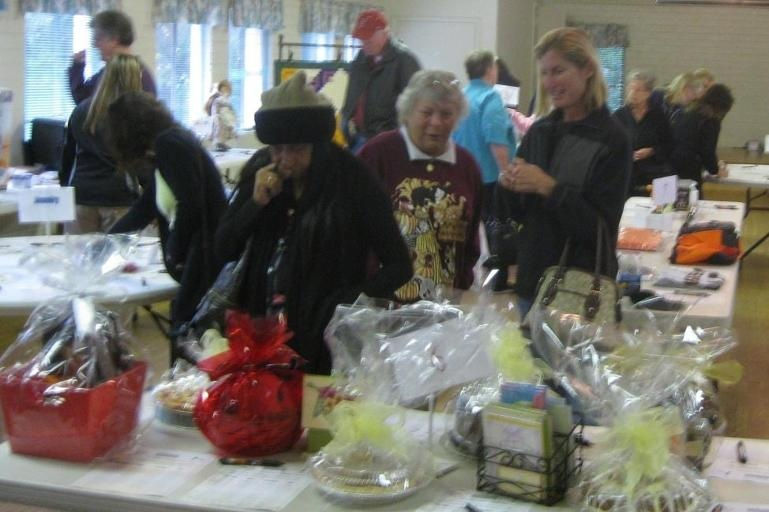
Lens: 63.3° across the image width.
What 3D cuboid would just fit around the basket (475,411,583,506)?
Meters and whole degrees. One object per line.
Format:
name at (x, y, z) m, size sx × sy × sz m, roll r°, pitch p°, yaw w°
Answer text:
basket at (0.356, 0.437, 1.536) m, size 0.235 × 0.198 × 0.221 m, roll 4°, pitch 9°, yaw 28°

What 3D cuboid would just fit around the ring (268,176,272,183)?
ring at (-0.376, -0.248, 2.027) m, size 0.018 × 0.017 × 0.004 m, roll 13°, pitch -1°, yaw 30°

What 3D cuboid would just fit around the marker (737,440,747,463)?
marker at (0.940, 0.517, 1.651) m, size 0.020 × 0.062 × 0.036 m, roll -6°, pitch -11°, yaw 22°

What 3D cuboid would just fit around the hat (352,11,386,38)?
hat at (-0.094, -1.570, 4.224) m, size 0.174 × 0.120 × 0.236 m, roll 13°, pitch 30°, yaw 32°

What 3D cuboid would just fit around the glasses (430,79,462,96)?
glasses at (0.235, -0.649, 2.394) m, size 0.070 × 0.052 × 0.090 m, roll -2°, pitch -12°, yaw 12°

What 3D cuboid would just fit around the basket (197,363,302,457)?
basket at (-0.339, 0.402, 1.574) m, size 0.252 × 0.139 × 0.246 m, roll -1°, pitch 3°, yaw -3°

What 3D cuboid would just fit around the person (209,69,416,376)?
person at (-0.276, -0.118, 2.076) m, size 0.681 × 0.954 × 0.322 m, roll 7°, pitch 16°, yaw 23°

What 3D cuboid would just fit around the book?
book at (0.330, 0.449, 1.457) m, size 0.247 × 0.229 × 0.182 m, roll 3°, pitch 12°, yaw 28°

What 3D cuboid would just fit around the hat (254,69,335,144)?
hat at (-0.288, -0.438, 1.976) m, size 0.240 × 0.214 × 0.250 m, roll 5°, pitch 7°, yaw 43°
